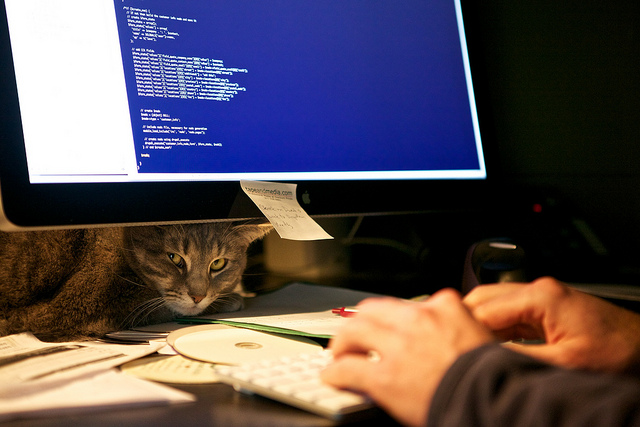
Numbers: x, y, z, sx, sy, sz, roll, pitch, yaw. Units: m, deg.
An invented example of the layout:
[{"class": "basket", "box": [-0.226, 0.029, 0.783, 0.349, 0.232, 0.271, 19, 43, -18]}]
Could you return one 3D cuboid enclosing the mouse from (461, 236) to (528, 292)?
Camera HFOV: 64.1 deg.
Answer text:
[{"class": "mouse", "box": [0.319, 0.097, 0.913, 0.118, 0.104, 0.074, -1, 10, 21]}]
